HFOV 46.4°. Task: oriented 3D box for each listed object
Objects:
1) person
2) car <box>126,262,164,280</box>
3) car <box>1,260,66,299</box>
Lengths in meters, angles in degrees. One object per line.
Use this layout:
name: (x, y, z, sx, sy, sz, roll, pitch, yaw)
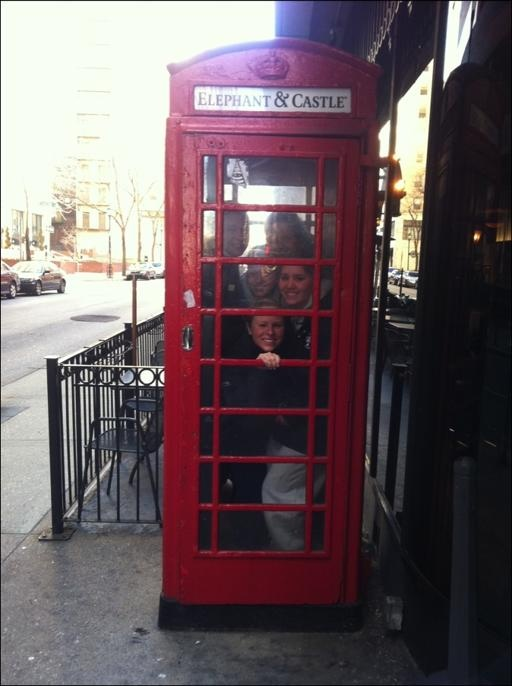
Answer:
person: (0.040, 0.205, 2.655, 0.564, 1.537, 0.173, -1, 5, -9)
car: (-7.898, -5.223, 43.542, 0.810, 1.227, 5.386, 1, 7, 8)
car: (-9.570, -2.636, 24.943, 1.046, 1.191, 3.028, 0, 3, 5)
